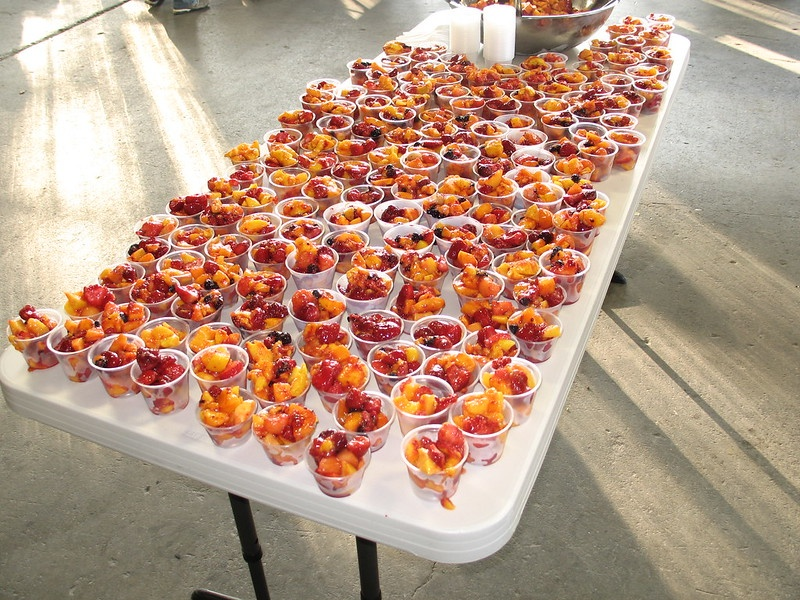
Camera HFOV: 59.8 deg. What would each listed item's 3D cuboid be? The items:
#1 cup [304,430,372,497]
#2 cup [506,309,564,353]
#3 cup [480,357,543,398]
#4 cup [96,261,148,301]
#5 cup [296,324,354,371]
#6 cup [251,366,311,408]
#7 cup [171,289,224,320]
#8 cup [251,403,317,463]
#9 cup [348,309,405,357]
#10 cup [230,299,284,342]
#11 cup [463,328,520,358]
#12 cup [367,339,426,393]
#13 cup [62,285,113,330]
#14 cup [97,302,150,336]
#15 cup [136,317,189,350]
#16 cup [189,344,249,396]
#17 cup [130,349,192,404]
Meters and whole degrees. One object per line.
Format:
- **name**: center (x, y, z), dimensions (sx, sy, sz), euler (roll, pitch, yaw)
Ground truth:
- **cup**: center (-0.159, 0.448, 2.000), dimensions (0.225, 0.133, 0.186), euler (1, 32, 2)
- **cup**: center (0.415, 0.089, 2.183), dimensions (0.188, 0.101, 0.145), euler (-3, 34, -3)
- **cup**: center (0.325, 0.226, 2.036), dimensions (0.170, 0.057, 0.122), euler (-10, 43, -7)
- **cup**: center (-0.944, -0.063, 2.408), dimensions (0.177, 0.095, 0.141), euler (7, 33, 9)
- **cup**: center (-0.230, 0.140, 2.209), dimensions (0.191, 0.108, 0.146), euler (1, 37, 4)
- **cup**: center (-0.348, 0.249, 2.046), dimensions (0.171, 0.088, 0.137), euler (-1, 21, 0)
- **cup**: center (-0.664, 0.012, 2.267), dimensions (0.150, 0.075, 0.118), euler (2, 28, 1)
- **cup**: center (-0.329, 0.377, 2.036), dimensions (0.220, 0.111, 0.172), euler (1, 30, 1)
- **cup**: center (-0.081, 0.094, 2.169), dimensions (0.192, 0.096, 0.148), euler (0, 34, 2)
- **cup**: center (-0.447, 0.049, 2.180), dimensions (0.173, 0.082, 0.135), euler (2, 32, 5)
- **cup**: center (0.277, 0.136, 2.133), dimensions (0.164, 0.066, 0.111), euler (-5, 44, -1)
- **cup**: center (-0.016, 0.186, 2.156), dimensions (0.207, 0.102, 0.161), euler (1, 33, 5)
- **cup**: center (-1.021, 0.017, 2.325), dimensions (0.139, 0.087, 0.128), euler (-6, 53, 9)
- **cup**: center (-0.885, 0.054, 2.245), dimensions (0.146, 0.059, 0.117), euler (9, 35, 11)
- **cup**: center (-0.751, 0.109, 2.203), dimensions (0.146, 0.057, 0.119), euler (5, 28, 2)
- **cup**: center (-0.549, 0.219, 2.128), dimensions (0.193, 0.101, 0.170), euler (12, 18, 16)
- **cup**: center (-0.715, 0.241, 2.118), dimensions (0.146, 0.181, 0.165), euler (-6, 47, 0)
